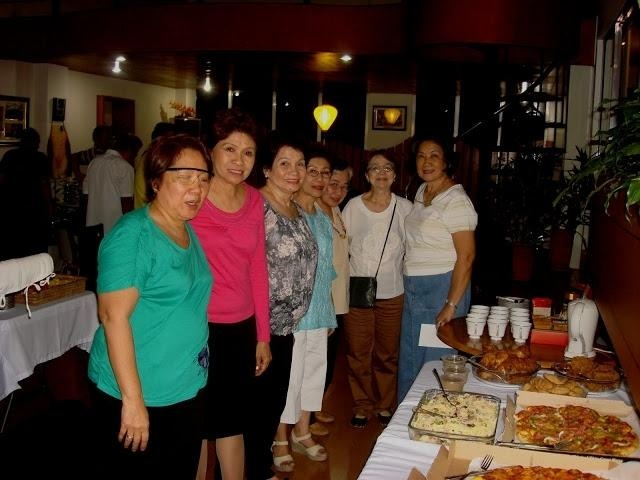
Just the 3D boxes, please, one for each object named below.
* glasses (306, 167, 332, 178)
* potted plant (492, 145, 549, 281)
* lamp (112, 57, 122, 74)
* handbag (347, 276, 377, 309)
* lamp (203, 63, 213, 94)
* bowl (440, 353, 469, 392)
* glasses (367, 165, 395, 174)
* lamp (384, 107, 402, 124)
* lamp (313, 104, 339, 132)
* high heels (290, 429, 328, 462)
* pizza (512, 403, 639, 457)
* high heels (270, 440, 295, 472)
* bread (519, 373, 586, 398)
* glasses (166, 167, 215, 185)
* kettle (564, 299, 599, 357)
[{"bbox_3d":[-0.003,-0.431,2.928,0.193,0.063,0.071,-9,13,-39],"label":"glasses"},{"bbox_3d":[3.083,-0.399,6.989,0.846,1.845,1.172,6,12,32],"label":"potted plant"},{"bbox_3d":[-4.363,-3.766,9.817,0.186,0.187,0.264,-12,-28,-22],"label":"lamp"},{"bbox_3d":[0.286,0.354,3.157,0.209,0.231,0.059,4,2,0],"label":"handbag"},{"bbox_3d":[-2.530,-3.588,10.327,0.224,0.475,0.504,-5,11,-25],"label":"lamp"},{"bbox_3d":[0.581,0.568,1.986,0.104,0.090,0.121,-1,8,-1],"label":"bowl"},{"bbox_3d":[0.427,-0.497,3.211,0.193,0.070,0.096,0,10,6],"label":"glasses"},{"bbox_3d":[1.668,-2.783,10.447,0.313,0.361,0.330,0,-10,19],"label":"lamp"},{"bbox_3d":[0.155,-2.595,9.866,0.586,0.646,0.589,-5,6,-45],"label":"lamp"},{"bbox_3d":[-0.074,1.356,3.055,0.263,0.121,0.105,10,11,35],"label":"high heels"},{"bbox_3d":[0.864,0.650,1.561,0.411,0.050,0.262,-1,11,0],"label":"pizza"},{"bbox_3d":[-0.233,1.356,2.882,0.081,0.100,0.240,0,3,-7],"label":"high heels"},{"bbox_3d":[0.963,0.590,1.864,0.121,0.045,0.118,-1,3,-2],"label":"bread"},{"bbox_3d":[-0.479,-0.236,1.674,0.165,0.063,0.047,-7,12,-32],"label":"glasses"},{"bbox_3d":[1.283,0.436,2.242,0.130,0.266,0.250,5,12,30],"label":"kettle"}]
